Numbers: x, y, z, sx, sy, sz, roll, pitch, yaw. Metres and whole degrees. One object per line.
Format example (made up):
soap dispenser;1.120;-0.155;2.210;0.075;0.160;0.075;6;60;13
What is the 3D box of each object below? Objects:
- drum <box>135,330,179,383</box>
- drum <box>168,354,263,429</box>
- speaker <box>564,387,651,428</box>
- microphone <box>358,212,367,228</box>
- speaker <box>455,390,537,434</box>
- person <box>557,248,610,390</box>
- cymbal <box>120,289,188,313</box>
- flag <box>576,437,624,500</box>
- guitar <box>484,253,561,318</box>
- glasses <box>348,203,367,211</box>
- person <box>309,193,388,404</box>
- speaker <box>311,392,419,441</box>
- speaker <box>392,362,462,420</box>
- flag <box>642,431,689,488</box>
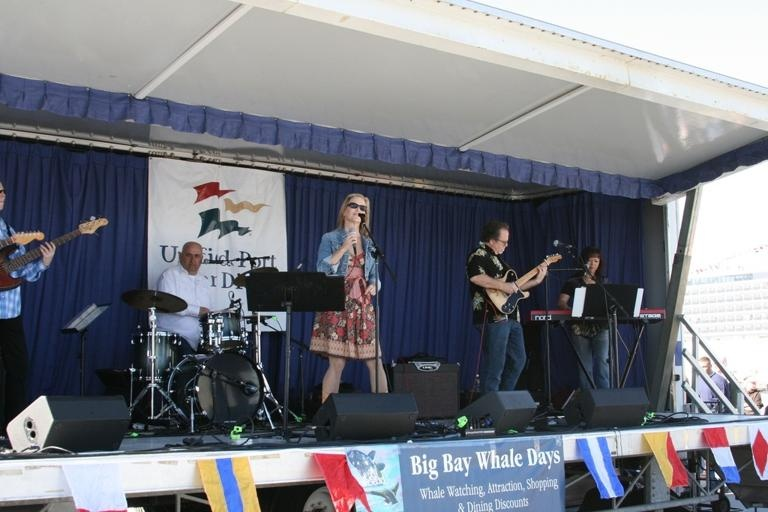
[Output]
drum;-2.289;0.994;9.174;0.427;0.448;0.455;0;-7;8
drum;-1.587;1.221;8.861;0.825;0.961;0.670;-2;4;-38
speaker;1.888;1.324;8.051;0.540;0.303;0.381;4;-4;-27
microphone;-0.200;-0.337;8.412;0.081;0.106;0.108;3;-11;-17
speaker;0.962;1.306;7.783;0.347;0.291;0.437;9;-8;-42
person;2.266;0.775;10.096;0.633;1.918;0.492;-5;26;9
cymbal;-2.317;0.452;9.155;0.322;0.081;0.351;1;-37;7
flag;1.770;1.734;7.610;0.321;0.565;0.116;9;-33;-28
guitar;1.578;0.362;10.381;0.777;0.338;0.111;-34;-8;-28
glasses;-0.247;-0.446;8.442;0.167;0.085;0.076;-1;-9;0
person;-0.337;0.353;8.400;0.692;1.950;0.779;0;-8;-2
speaker;-0.151;1.296;7.403;0.789;0.378;0.298;3;-9;-21
speaker;0.410;1.423;9.903;0.829;0.790;0.523;3;-11;-22
flag;2.417;1.734;7.869;0.336;0.446;0.319;-5;-10;28
